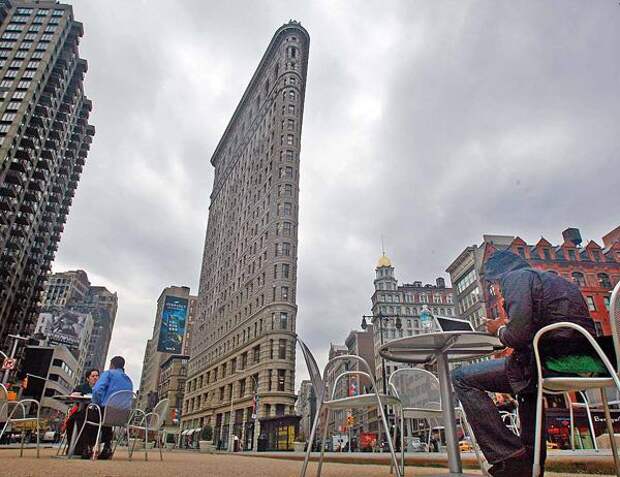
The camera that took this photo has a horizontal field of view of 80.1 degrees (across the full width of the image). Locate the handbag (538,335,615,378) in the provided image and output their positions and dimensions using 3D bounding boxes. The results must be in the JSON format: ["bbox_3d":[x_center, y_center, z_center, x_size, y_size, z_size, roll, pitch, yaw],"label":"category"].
[{"bbox_3d":[2.567,1.123,3.557,0.556,0.150,0.417,-3,-73,23],"label":"handbag"}]

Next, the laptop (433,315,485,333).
[{"bbox_3d":[1.960,1.118,4.931,0.412,0.271,0.289,8,-37,-24],"label":"laptop"}]
